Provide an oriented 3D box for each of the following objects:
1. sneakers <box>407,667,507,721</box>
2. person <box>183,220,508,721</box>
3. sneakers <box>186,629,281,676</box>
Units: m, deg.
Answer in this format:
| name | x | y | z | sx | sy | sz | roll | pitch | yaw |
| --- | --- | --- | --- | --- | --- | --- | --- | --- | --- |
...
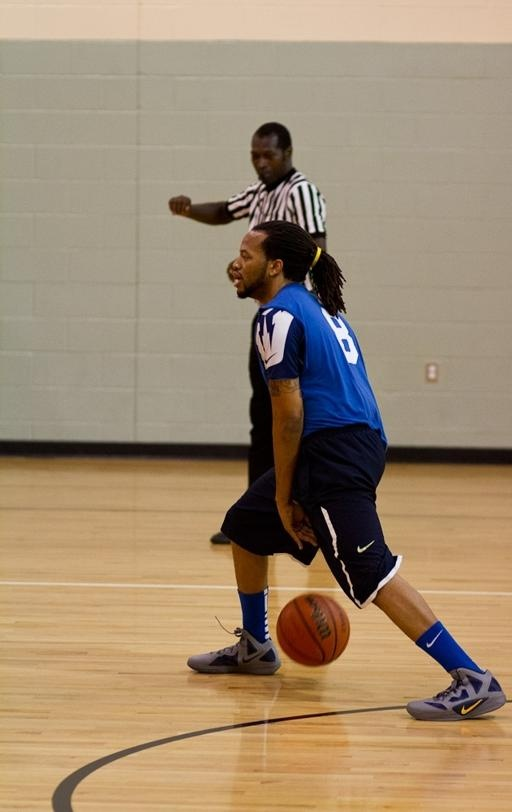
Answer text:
| name | x | y | z | sx | sy | sz | roll | pitch | yaw |
| --- | --- | --- | --- | --- | --- | --- | --- | --- | --- |
| sneakers | 0.458 | 0.645 | 2.510 | 0.278 | 0.135 | 0.091 | -2 | 0 | 1 |
| person | 0.169 | 0.133 | 2.601 | 0.760 | 1.120 | 0.443 | 1 | 1 | 45 |
| sneakers | -0.038 | 0.639 | 2.877 | 0.294 | 0.142 | 0.094 | 4 | -6 | 5 |
